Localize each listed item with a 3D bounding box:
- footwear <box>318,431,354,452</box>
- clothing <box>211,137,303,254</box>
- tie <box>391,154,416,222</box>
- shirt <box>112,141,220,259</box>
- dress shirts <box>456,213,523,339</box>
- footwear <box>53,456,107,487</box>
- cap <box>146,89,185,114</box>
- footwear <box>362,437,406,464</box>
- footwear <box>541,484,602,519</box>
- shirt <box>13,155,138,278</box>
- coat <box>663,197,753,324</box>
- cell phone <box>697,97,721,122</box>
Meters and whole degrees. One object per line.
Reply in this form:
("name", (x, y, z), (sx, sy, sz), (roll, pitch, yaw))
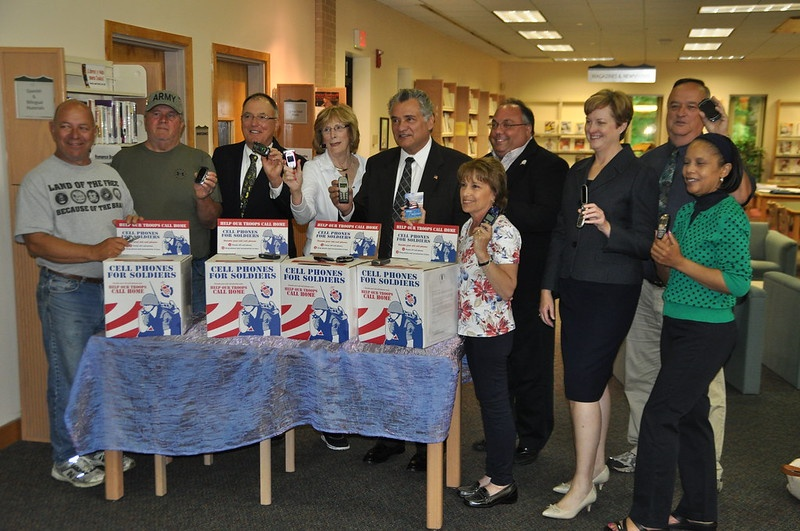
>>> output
("footwear", (-0.493, 1.267, 4.599), (0.124, 0.120, 0.303), (-3, 11, -38))
("clothing", (-1.115, -0.484, 4.647), (0.694, 0.825, 0.248), (0, 0, 17))
("tie", (0.005, -0.505, 4.060), (0.125, 0.398, 0.182), (6, 16, 21))
("shirt", (-1.628, -0.441, 4.211), (0.830, 0.794, 0.424), (-2, 5, -19))
("dress shirts", (0.491, 0.052, 3.694), (0.393, 0.702, 0.292), (7, 16, 23))
("footwear", (-2.168, 1.366, 4.128), (0.375, 0.169, 0.171), (2, 7, 12))
("cap", (-1.681, -1.159, 4.399), (0.180, 0.156, 0.235), (15, 21, 42))
("footwear", (-0.125, 1.306, 4.510), (0.352, 0.244, 0.132), (2, -2, -35))
("footwear", (1.027, 1.476, 3.877), (0.413, 0.185, 0.150), (-6, 5, -12))
("shirt", (-2.109, -0.327, 4.034), (0.434, 0.799, 0.841), (3, 5, 40))
("coat", (1.755, -0.050, 3.516), (0.423, 0.684, 0.373), (8, 17, 26))
("cell phone", (1.963, -0.989, 3.925), (0.090, 0.157, 0.038), (-37, -12, 7))
